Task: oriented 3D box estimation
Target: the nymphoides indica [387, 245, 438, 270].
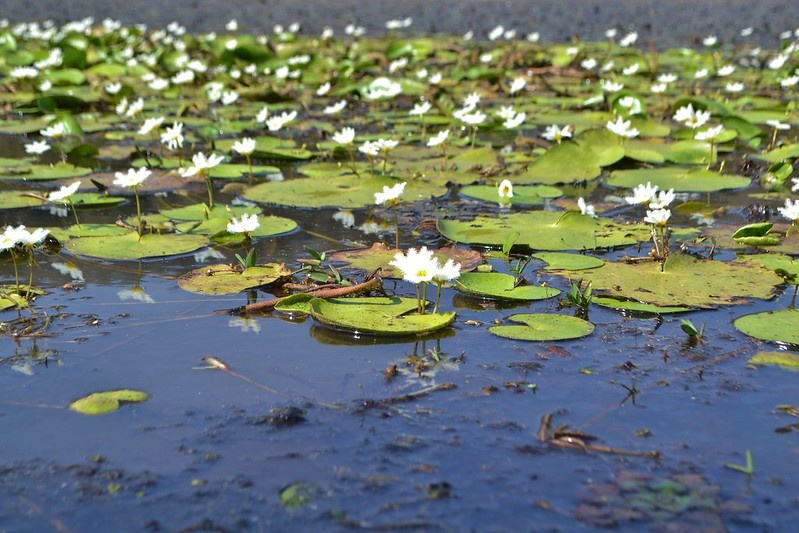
[{"bbox_3d":[0.057,-0.032,4.647,0.242,0.042,0.202,-2,21,21],"label":"nymphoides indica"}]
